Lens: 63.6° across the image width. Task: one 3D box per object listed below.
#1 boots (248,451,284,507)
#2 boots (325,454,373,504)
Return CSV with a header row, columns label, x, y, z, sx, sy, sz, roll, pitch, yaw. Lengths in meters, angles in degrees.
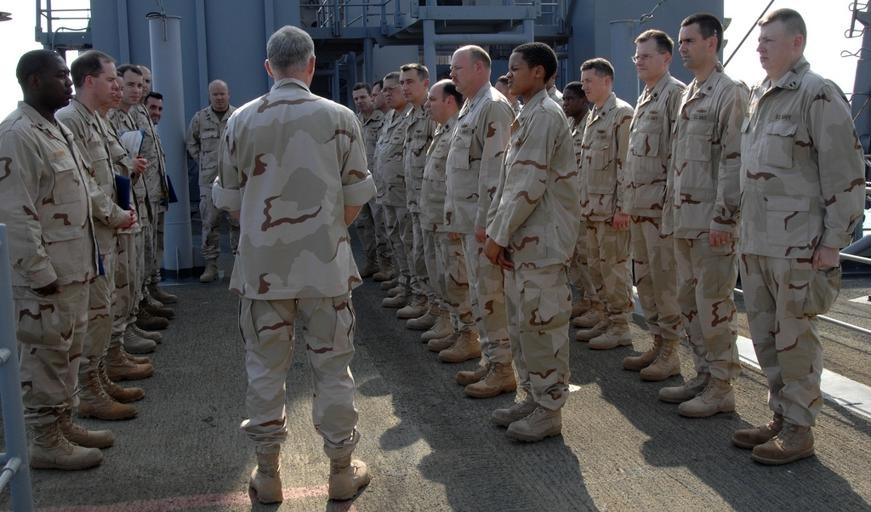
label,x,y,z,sx,sy,sz,roll,pitch,yaw
boots,-1.237,1.590,5.118,0.237,0.374,0.206,-5,18,-17
boots,-0.648,1.618,5.157,0.184,0.303,0.445,5,10,31
